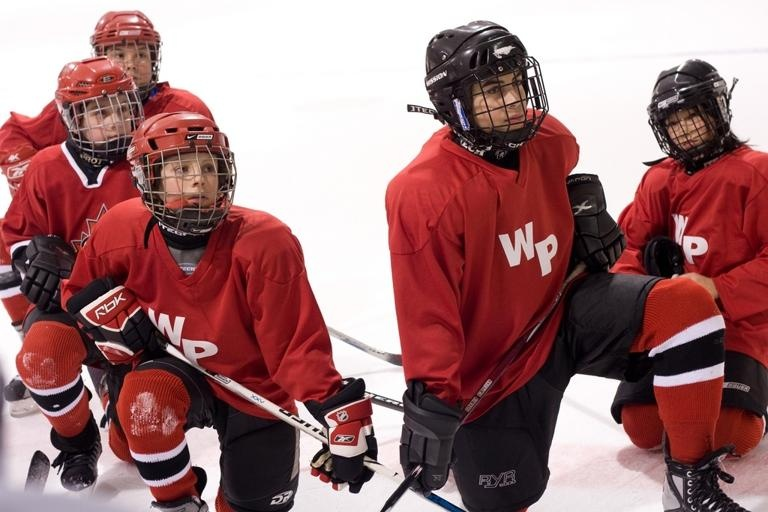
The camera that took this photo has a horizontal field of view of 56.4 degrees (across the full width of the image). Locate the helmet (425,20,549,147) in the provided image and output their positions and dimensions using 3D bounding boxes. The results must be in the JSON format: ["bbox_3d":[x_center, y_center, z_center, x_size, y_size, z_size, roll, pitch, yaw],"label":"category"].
[{"bbox_3d":[0.401,-0.716,2.987,0.455,0.489,0.516,-17,22,-6],"label":"helmet"}]

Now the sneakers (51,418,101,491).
[{"bbox_3d":[-1.423,0.924,3.427,0.175,0.187,0.374,-11,34,5],"label":"sneakers"}]

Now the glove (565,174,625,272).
[{"bbox_3d":[0.878,-0.134,3.224,0.275,0.416,0.177,-27,14,-27],"label":"glove"}]

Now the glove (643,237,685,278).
[{"bbox_3d":[1.389,0.000,3.541,0.174,0.212,0.136,-5,5,16],"label":"glove"}]

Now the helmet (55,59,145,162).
[{"bbox_3d":[-1.546,-0.800,3.805,0.397,0.464,0.511,-15,27,-32],"label":"helmet"}]

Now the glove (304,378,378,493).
[{"bbox_3d":[-0.171,0.701,2.999,0.366,0.432,0.198,-11,10,-2],"label":"glove"}]

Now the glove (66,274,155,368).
[{"bbox_3d":[-1.149,0.274,3.211,0.306,0.413,0.142,-40,15,13],"label":"glove"}]

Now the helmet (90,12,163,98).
[{"bbox_3d":[-1.555,-1.306,4.616,0.475,0.550,0.581,-3,-2,-16],"label":"helmet"}]

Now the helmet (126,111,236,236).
[{"bbox_3d":[-0.897,-0.384,3.174,0.456,0.492,0.559,-4,12,-32],"label":"helmet"}]

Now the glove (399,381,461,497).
[{"bbox_3d":[0.184,0.713,2.815,0.277,0.421,0.132,-9,2,2],"label":"glove"}]

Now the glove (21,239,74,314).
[{"bbox_3d":[-1.673,0.062,3.559,0.303,0.381,0.157,15,-37,-33],"label":"glove"}]
